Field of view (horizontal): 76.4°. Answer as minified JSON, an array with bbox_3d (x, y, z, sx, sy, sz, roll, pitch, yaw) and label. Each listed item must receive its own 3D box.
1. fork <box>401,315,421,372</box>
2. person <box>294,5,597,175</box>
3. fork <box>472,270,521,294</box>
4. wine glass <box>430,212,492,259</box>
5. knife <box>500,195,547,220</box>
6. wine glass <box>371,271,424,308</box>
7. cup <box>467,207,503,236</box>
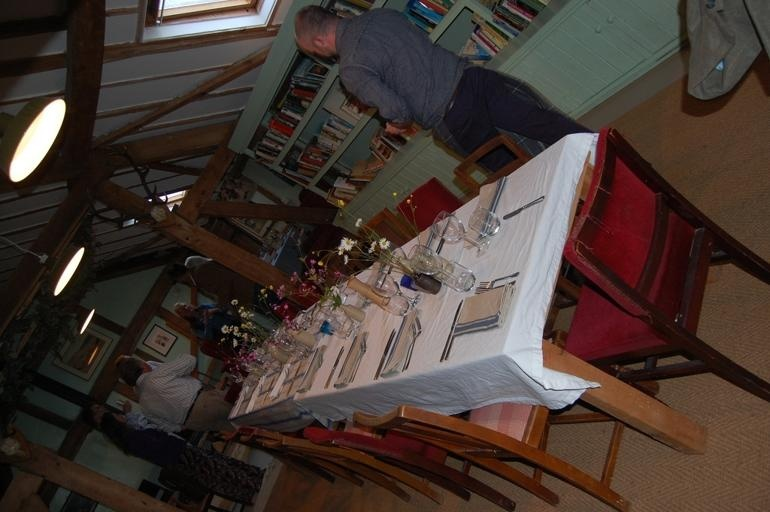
[{"bbox_3d":[0.126,0.412,2.330,0.073,0.238,0.095,10,-17,21],"label":"fork"},{"bbox_3d":[0.468,-1.225,3.472,0.518,1.769,0.520,-63,-5,5],"label":"person"},{"bbox_3d":[0.471,0.108,2.117,0.047,0.052,0.387,9,-11,-20],"label":"fork"},{"bbox_3d":[0.365,-0.123,2.406,0.335,0.222,0.192,6,5,-6],"label":"wine glass"},{"bbox_3d":[0.623,-0.210,2.241,0.015,0.049,0.281,-3,-18,-29],"label":"knife"},{"bbox_3d":[0.061,0.172,2.611,0.155,0.182,0.245,-44,17,-34],"label":"wine glass"},{"bbox_3d":[0.469,-0.158,2.324,0.132,0.133,0.103,-58,-18,-7],"label":"cup"}]
